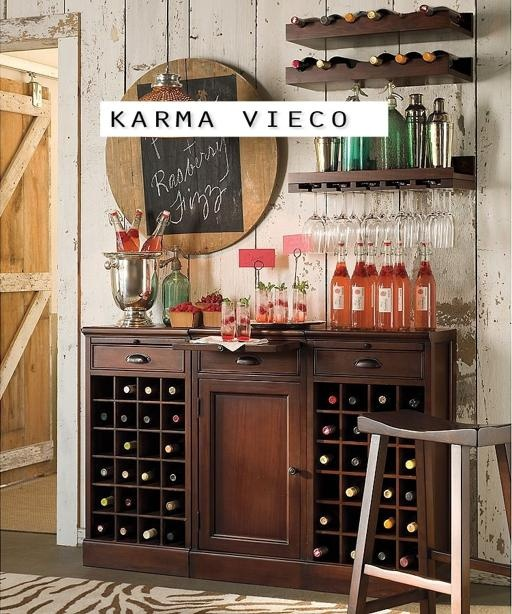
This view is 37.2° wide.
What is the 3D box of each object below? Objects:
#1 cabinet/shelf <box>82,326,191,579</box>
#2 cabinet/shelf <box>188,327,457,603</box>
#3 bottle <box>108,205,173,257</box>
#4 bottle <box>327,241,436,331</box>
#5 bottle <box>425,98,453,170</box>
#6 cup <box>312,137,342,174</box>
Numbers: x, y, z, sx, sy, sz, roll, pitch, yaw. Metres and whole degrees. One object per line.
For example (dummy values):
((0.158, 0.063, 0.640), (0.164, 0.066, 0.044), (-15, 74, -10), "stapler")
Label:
((-0.481, 0.593, 3.296), (0.571, 1.035, 0.269), (-4, 1, 22), "cabinet/shelf")
((0.221, 0.548, 3.093), (1.003, 1.066, 0.386), (2, 11, 9), "cabinet/shelf")
((-0.524, -0.342, 3.457), (0.278, 0.204, 0.467), (-6, 2, -11), "bottle")
((0.486, -0.080, 2.991), (0.402, 0.310, 0.322), (-5, 2, 6), "bottle")
((0.694, -0.634, 2.902), (0.104, 0.210, 0.077), (-4, 1, 15), "bottle")
((0.290, -0.591, 3.025), (0.115, 0.144, 0.119), (-2, 11, 0), "cup")
